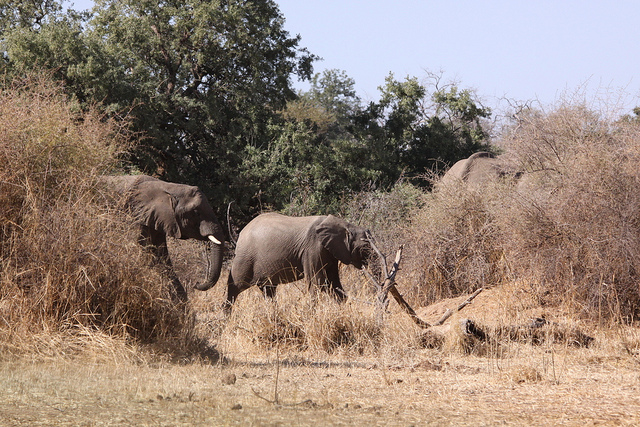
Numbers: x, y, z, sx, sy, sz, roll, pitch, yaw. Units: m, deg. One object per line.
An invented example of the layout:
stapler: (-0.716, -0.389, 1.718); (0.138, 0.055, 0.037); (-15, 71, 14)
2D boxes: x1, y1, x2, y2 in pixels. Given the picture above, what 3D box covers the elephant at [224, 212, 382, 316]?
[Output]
elephant: (-0.371, 1.037, 14.486); (3.084, 1.993, 1.259); (0, 3, 6)
